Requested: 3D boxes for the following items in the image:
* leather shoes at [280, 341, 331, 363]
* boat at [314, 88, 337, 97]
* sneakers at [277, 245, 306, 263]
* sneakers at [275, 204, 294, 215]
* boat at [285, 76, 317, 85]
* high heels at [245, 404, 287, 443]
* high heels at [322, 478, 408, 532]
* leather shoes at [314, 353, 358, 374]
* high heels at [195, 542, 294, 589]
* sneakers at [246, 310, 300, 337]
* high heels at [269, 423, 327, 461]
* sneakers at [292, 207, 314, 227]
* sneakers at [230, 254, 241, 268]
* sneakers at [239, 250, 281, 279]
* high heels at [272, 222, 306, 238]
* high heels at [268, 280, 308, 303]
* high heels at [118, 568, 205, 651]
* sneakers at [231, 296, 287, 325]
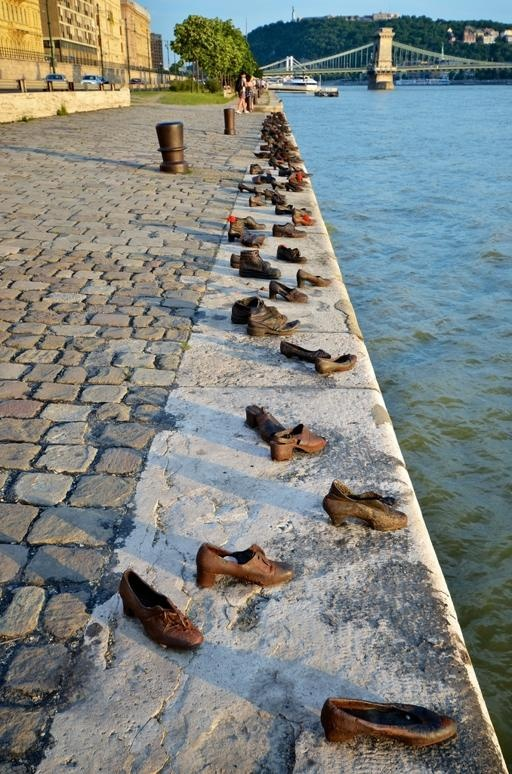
[{"bbox_3d":[0.305,-0.228,3.595,0.337,0.126,0.134,5,36,14],"label":"leather shoes"},{"bbox_3d":[12.496,-51.431,98.494,2.443,1.548,7.532,-4,24,-9],"label":"boat"},{"bbox_3d":[0.393,-1.311,5.567,0.349,0.139,0.133,12,67,15],"label":"sneakers"},{"bbox_3d":[0.385,-2.403,7.644,0.231,0.126,0.124,-6,25,-13],"label":"sneakers"},{"bbox_3d":[8.512,-55.579,102.438,3.826,1.747,7.121,-8,25,-18],"label":"boat"},{"bbox_3d":[0.042,0.192,2.764,0.100,0.115,0.275,-20,35,-20],"label":"high heels"},{"bbox_3d":[0.424,0.463,2.243,0.325,0.154,0.175,8,23,5],"label":"high heels"},{"bbox_3d":[0.485,-0.151,3.494,0.278,0.112,0.107,-17,35,-24],"label":"leather shoes"},{"bbox_3d":[-0.042,0.592,1.954,0.373,0.159,0.144,2,36,-16],"label":"high heels"},{"bbox_3d":[0.133,-0.446,3.910,0.300,0.136,0.166,-1,26,-8],"label":"sneakers"},{"bbox_3d":[0.192,0.238,2.671,0.302,0.135,0.125,-10,27,-37],"label":"high heels"},{"bbox_3d":[0.610,-2.163,7.170,0.442,0.205,0.207,-15,28,-30],"label":"sneakers"},{"bbox_3d":[-0.169,-1.203,5.351,0.137,0.119,0.112,2,19,2],"label":"sneakers"},{"bbox_3d":[0.015,-1.083,5.090,0.462,0.293,0.184,1,46,-1],"label":"sneakers"},{"bbox_3d":[0.386,-1.809,6.538,0.329,0.133,0.179,-2,30,-10],"label":"high heels"},{"bbox_3d":[0.254,-0.761,4.614,0.325,0.148,0.160,7,45,-3],"label":"high heels"},{"bbox_3d":[-0.284,0.689,1.761,0.373,0.148,0.134,23,28,34],"label":"high heels"},{"bbox_3d":[-0.026,-0.550,4.020,0.462,0.207,0.172,8,35,17],"label":"sneakers"}]
